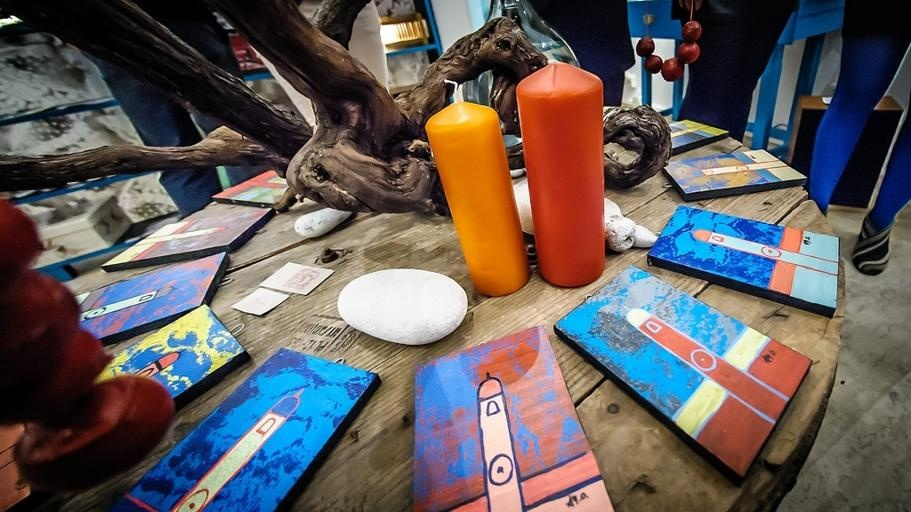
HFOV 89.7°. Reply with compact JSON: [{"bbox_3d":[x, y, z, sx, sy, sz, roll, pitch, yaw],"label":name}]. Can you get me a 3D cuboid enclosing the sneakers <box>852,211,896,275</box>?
[{"bbox_3d":[1.626,-0.062,1.778,0.099,0.109,0.271,12,55,33],"label":"sneakers"}]
